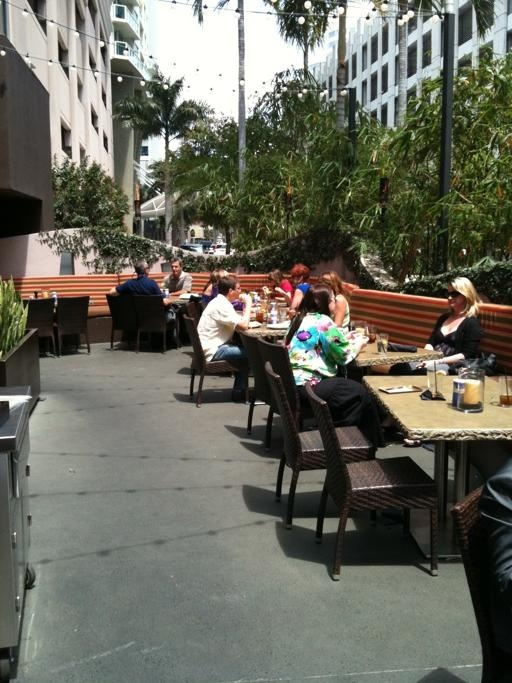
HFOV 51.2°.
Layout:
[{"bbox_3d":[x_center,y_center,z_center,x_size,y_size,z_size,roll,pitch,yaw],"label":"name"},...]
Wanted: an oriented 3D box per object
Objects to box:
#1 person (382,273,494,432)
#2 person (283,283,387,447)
[{"bbox_3d":[1.723,-0.113,5.083,0.782,0.998,0.511,0,10,-24],"label":"person"},{"bbox_3d":[0.578,0.182,3.890,0.699,1.194,1.082,0,3,2],"label":"person"}]
